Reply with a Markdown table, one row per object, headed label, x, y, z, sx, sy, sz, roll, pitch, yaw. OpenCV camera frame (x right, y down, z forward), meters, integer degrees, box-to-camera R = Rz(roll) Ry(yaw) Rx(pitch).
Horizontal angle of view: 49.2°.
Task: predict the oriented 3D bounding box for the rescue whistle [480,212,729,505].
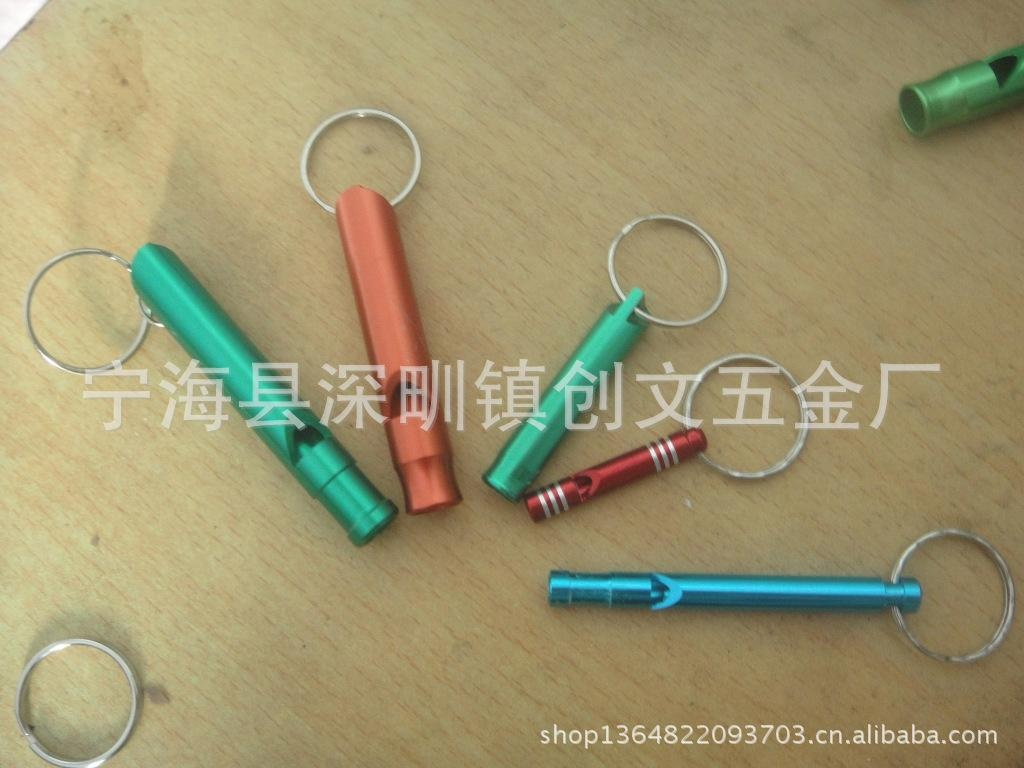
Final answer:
| label | x | y | z | sx | sy | sz | roll | pitch | yaw |
| --- | --- | --- | --- | --- | --- | --- | --- | --- | --- |
| rescue whistle | 0.188 | -0.026 | 2.276 | 0.506 | 0.379 | 0.694 | 5 | 29 | 3 |

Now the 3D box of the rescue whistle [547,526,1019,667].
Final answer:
| label | x | y | z | sx | sy | sz | roll | pitch | yaw |
| --- | --- | --- | --- | --- | --- | --- | --- | --- | --- |
| rescue whistle | 0.543 | 0.448 | 2.188 | 0.884 | 0.297 | 0.247 | -12 | 59 | 7 |
